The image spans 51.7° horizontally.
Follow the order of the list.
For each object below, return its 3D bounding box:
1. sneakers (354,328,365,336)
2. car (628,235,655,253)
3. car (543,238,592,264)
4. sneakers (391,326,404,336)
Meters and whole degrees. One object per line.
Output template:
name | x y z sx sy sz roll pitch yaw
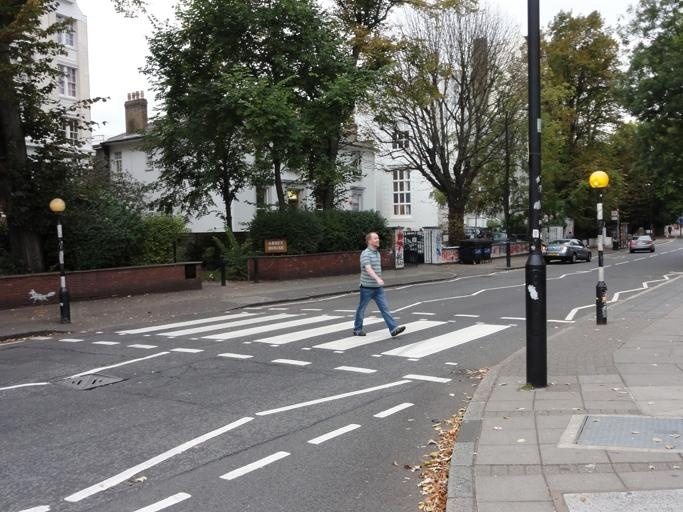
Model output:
sneakers | 0.360 1.670 15.269 0.231 0.092 0.119 -1 0 39
car | 24.463 -1.018 57.307 1.591 1.393 1.922 -2 1 35
car | 13.444 -0.306 42.002 1.473 1.036 3.264 0 2 42
sneakers | 1.196 1.618 15.157 0.281 0.213 0.480 -3 1 4
